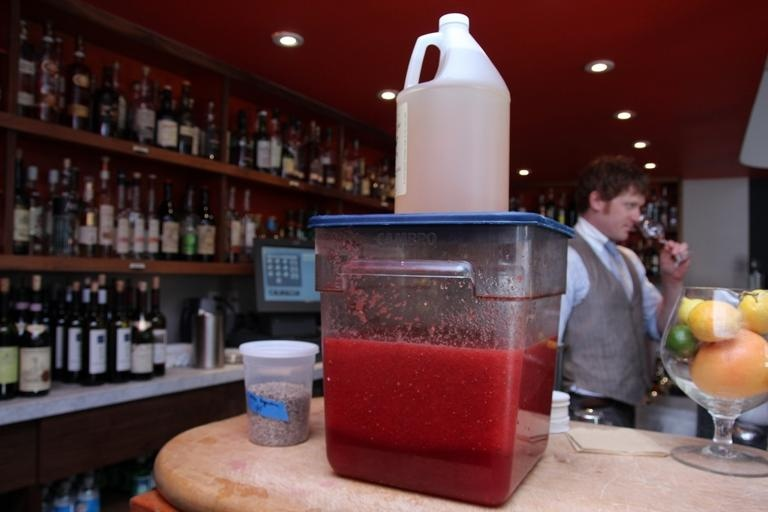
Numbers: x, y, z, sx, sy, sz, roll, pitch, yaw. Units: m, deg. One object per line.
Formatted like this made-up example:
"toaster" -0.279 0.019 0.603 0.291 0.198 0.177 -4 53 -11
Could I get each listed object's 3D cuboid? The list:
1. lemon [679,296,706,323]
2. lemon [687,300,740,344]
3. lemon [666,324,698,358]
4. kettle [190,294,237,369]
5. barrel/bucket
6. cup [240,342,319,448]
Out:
"lemon" 0.837 0.143 1.680 0.062 0.076 0.064 -8 -7 33
"lemon" 0.896 0.174 1.734 0.128 0.099 0.098 1 34 -6
"lemon" 0.825 0.238 1.773 0.082 0.101 0.085 -1 2 12
"kettle" -0.920 0.371 3.267 0.164 0.294 0.482 -3 11 -14
"barrel/bucket" 0.188 -0.397 2.037 0.459 0.803 0.480 1 0 0
"cup" -0.299 0.389 1.784 0.272 0.290 0.271 0 -10 0
